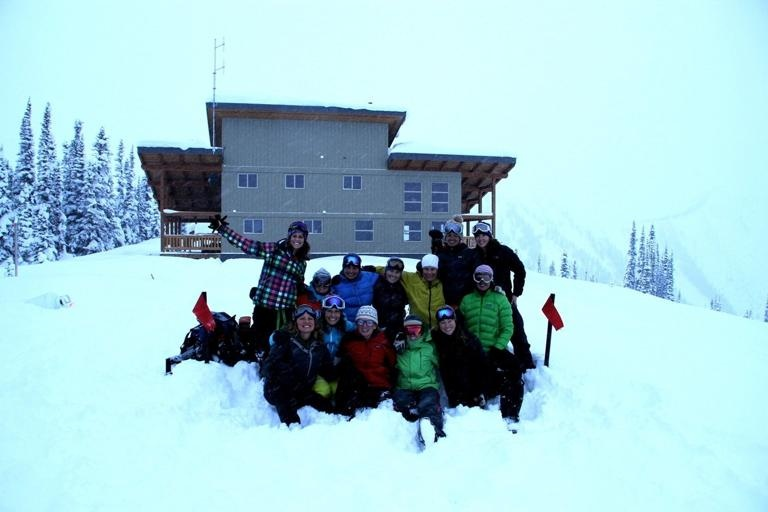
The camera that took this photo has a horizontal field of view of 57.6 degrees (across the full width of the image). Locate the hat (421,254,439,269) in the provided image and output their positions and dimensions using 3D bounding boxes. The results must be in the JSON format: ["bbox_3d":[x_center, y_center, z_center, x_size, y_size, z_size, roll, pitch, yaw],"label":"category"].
[{"bbox_3d":[0.973,0.094,14.791,0.246,0.262,0.328,1,1,1],"label":"hat"}]

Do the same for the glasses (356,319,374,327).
[{"bbox_3d":[-0.363,1.327,14.212,0.383,0.154,0.115,2,7,0],"label":"glasses"}]

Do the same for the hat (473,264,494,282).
[{"bbox_3d":[2.074,0.319,14.567,0.280,0.394,0.308,0,47,15],"label":"hat"}]

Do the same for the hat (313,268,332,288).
[{"bbox_3d":[-1.288,0.399,14.542,0.259,0.325,0.377,4,-37,-16],"label":"hat"}]

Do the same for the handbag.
[{"bbox_3d":[-3.609,1.714,14.941,1.408,0.996,0.975,-12,-10,43],"label":"handbag"}]

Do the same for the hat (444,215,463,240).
[{"bbox_3d":[1.495,-0.575,15.134,0.357,0.565,0.409,-1,18,12],"label":"hat"}]

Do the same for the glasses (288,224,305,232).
[{"bbox_3d":[-1.835,-0.603,14.655,0.196,0.146,0.256,4,1,-16],"label":"glasses"}]

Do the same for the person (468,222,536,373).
[{"bbox_3d":[2.563,0.993,15.358,1.201,3.598,1.126,-9,4,24],"label":"person"}]

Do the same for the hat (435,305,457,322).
[{"bbox_3d":[1.255,1.144,14.142,0.249,0.367,0.200,-7,0,7],"label":"hat"}]
